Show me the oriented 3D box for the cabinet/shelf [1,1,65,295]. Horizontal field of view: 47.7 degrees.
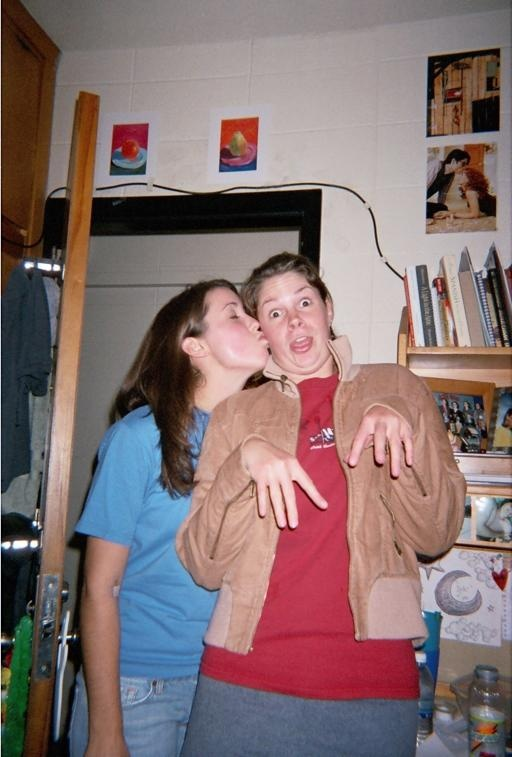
[{"bbox_3d":[-0.850,-0.834,2.132,0.098,0.992,0.388,0,0,0],"label":"cabinet/shelf"}]
